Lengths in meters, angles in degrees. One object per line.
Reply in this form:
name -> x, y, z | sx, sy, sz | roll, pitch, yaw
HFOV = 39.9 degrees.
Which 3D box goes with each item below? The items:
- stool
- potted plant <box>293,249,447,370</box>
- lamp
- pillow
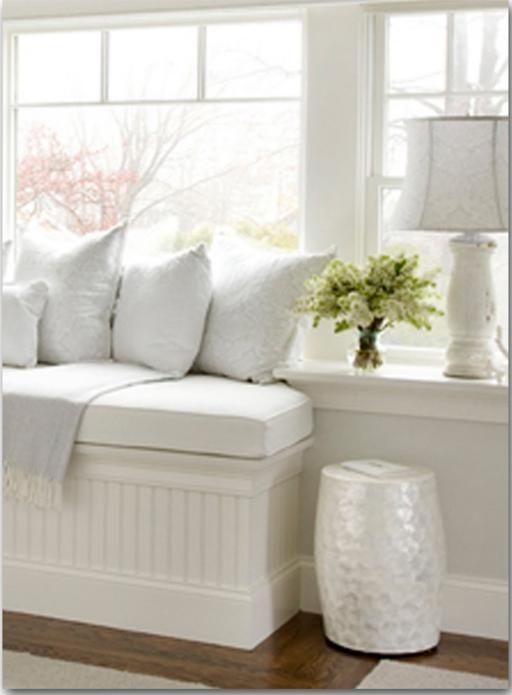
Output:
stool -> 0.291, 0.462, 1.655 | 0.294, 0.431, 0.284 | -6, 4, -36
potted plant -> 0.262, -0.072, 1.603 | 0.261, 0.243, 0.201 | -3, -13, 38
lamp -> 0.435, -0.223, 1.572 | 0.235, 0.566, 0.110 | 2, 10, 21
pillow -> -0.221, -0.105, 1.655 | 0.803, 0.354, 0.088 | 1, 10, 12
